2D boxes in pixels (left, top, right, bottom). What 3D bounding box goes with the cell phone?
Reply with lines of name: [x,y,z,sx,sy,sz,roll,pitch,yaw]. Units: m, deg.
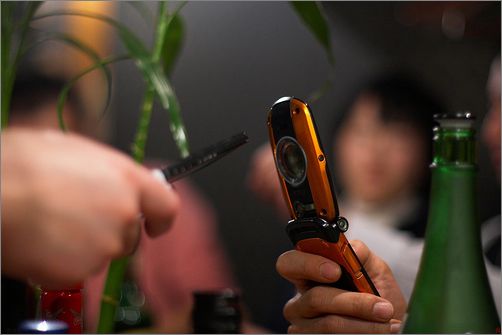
cell phone: [0.100,0.046,0.694,0.104,0.281,0.131,-11,-15,42]

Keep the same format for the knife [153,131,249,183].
knife: [-0.092,-0.019,0.976,0.195,0.034,0.040,-27,-10,-22]
